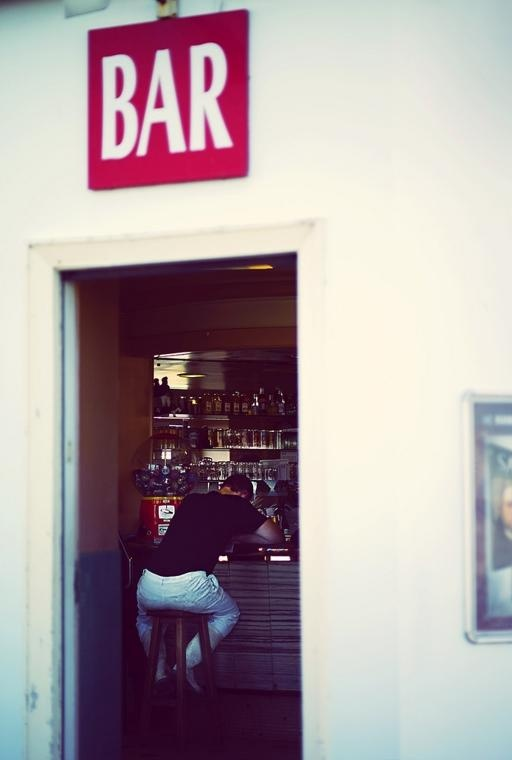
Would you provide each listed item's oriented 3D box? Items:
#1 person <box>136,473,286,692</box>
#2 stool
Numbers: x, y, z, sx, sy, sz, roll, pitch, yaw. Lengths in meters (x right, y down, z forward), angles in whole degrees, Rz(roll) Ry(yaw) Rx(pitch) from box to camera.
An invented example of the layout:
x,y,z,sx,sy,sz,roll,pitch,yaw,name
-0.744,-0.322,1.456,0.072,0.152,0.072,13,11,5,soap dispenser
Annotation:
x,y,z,sx,sy,sz,roll,pitch,yaw,name
-0.209,0.902,3.881,0.528,1.024,0.479,8,-4,-2,person
-0.328,1.238,3.797,0.330,0.554,0.660,2,8,-3,stool
